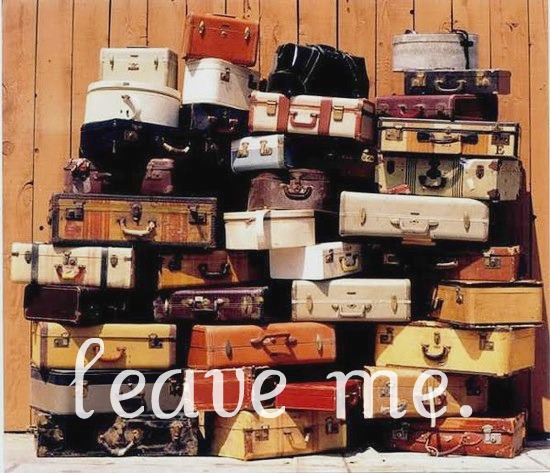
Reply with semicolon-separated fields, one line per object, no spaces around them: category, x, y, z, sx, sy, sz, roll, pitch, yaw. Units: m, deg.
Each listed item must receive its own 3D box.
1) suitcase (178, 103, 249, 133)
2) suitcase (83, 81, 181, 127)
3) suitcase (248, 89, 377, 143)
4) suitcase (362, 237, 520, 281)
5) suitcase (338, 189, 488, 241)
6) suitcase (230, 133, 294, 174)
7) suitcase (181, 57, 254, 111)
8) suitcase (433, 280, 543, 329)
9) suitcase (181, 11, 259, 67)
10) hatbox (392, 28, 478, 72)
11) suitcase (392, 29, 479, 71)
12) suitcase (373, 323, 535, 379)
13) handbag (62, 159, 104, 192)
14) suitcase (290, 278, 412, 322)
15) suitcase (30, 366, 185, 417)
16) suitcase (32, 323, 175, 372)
suitcase;-0.544;-1.013;14.617;0.712;0.574;0.245;0;96;-13
suitcase;-1.201;-1.092;14.352;0.805;0.361;0.330;-1;61;-3
suitcase;0.306;-1.049;14.686;0.984;0.784;0.371;6;97;10
suitcase;1.400;0.191;14.414;1.167;1.018;0.425;0;89;1
suitcase;1.175;-0.167;14.230;1.210;0.869;0.397;3;100;21
suitcase;-0.119;-0.731;14.546;0.478;0.353;0.323;-3;98;25
suitcase;-0.463;-1.258;14.585;0.458;0.615;0.390;3;85;36
suitcase;1.811;0.597;14.301;0.897;0.405;0.450;7;61;1
suitcase;-0.421;-1.735;14.512;0.614;0.410;0.440;7;114;-3
hatbox;1.400;-1.578;14.874;0.821;0.835;0.373;-2;94;-18
suitcase;1.414;-1.592;14.872;0.795;0.832;0.407;-2;92;-10
suitcase;1.485;0.929;14.253;1.219;1.119;0.482;0;89;2
handbag;-1.684;-0.514;14.594;0.443;0.453;0.318;2;91;1
suitcase;0.651;0.529;14.325;0.876;0.585;0.363;2;101;19
suitcase;-1.429;1.296;14.735;1.246;1.308;0.397;1;90;-16
suitcase;-1.400;0.920;14.205;1.123;0.205;0.354;1;61;-3
